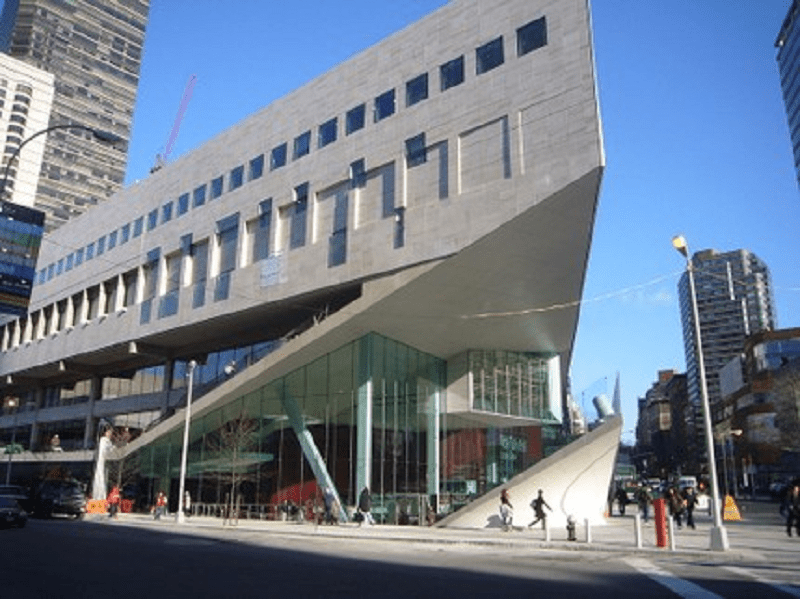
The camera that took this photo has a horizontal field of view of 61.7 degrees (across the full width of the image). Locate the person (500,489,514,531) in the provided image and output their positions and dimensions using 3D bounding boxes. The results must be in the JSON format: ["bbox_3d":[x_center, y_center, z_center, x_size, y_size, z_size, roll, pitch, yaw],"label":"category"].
[{"bbox_3d":[4.880,9.708,30.820,0.524,1.830,1.299,-4,-19,7],"label":"person"}]

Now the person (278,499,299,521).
[{"bbox_3d":[-6.129,11.716,36.993,0.871,0.887,0.468,-17,-34,26],"label":"person"}]

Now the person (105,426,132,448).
[{"bbox_3d":[-21.461,10.548,51.061,1.928,1.114,1.169,-10,-33,42],"label":"person"}]

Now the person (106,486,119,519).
[{"bbox_3d":[-16.579,11.779,38.718,0.481,1.646,1.101,8,-21,-26],"label":"person"}]
